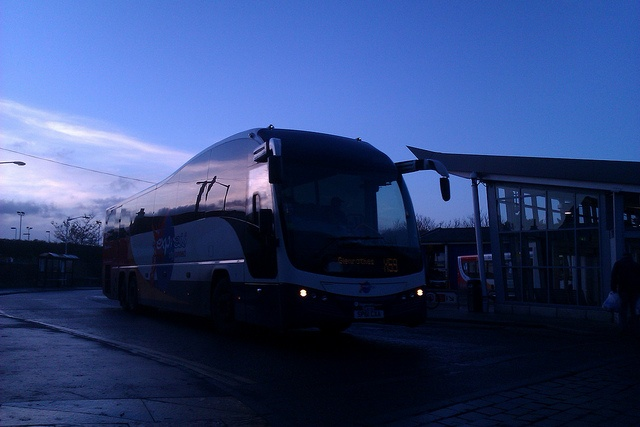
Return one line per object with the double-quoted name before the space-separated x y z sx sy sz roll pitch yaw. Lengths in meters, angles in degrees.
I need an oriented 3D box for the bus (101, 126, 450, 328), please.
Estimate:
"bus" -3.440 0.934 17.368 4.188 5.307 15.950 5 -9 -35
